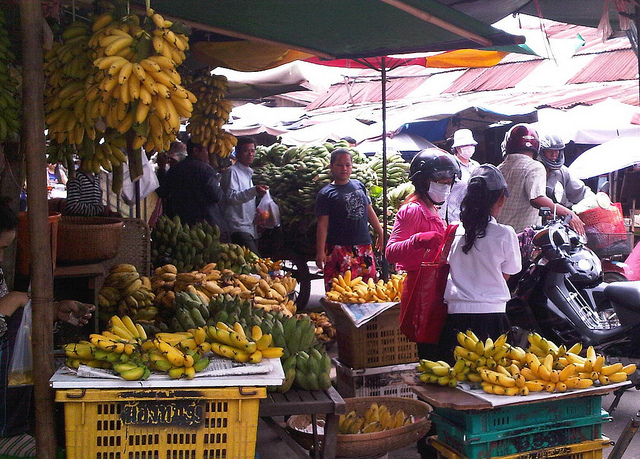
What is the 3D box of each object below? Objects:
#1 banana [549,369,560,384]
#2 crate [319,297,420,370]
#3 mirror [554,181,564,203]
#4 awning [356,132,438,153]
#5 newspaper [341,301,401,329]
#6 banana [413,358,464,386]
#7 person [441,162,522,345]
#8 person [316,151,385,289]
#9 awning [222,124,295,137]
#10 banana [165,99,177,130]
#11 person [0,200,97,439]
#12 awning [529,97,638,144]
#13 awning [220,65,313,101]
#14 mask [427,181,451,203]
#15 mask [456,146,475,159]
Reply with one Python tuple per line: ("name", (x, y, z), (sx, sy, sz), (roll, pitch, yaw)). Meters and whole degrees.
("banana", (1.241, 0.777, 2.933), (0.050, 0.069, 0.048), (0, -1, 20))
("crate", (0.432, 0.943, 5.195), (0.794, 0.556, 0.613), (-2, 11, -28))
("mirror", (2.989, -0.464, 6.930), (0.107, 0.297, 0.547), (0, -1, 24))
("awning", (1.923, -2.070, 13.322), (1.320, 0.365, 1.269), (-1, 6, 3))
("newspaper", (0.417, 0.684, 4.837), (0.464, 0.207, 0.415), (-2, 6, -25))
("banana", (0.690, 0.791, 3.116), (0.177, 0.065, 0.155), (1, 3, -30))
("person", (1.121, 0.178, 3.881), (0.525, 1.256, 0.189), (0, -1, 12))
("person", (0.381, 0.149, 6.449), (0.734, 2.211, 0.531), (-7, 26, -4))
("awning", (-1.587, -2.471, 13.925), (1.595, 0.302, 1.816), (3, 7, 12))
("banana", (-0.782, -0.608, 2.952), (0.038, 0.147, 0.050), (-16, -15, 29))
("person", (-1.602, 0.523, 3.175), (0.408, 1.381, 1.393), (1, -1, -35))
("awning", (4.985, -1.997, 10.400), (1.690, 0.926, 1.456), (0, -2, 22))
("awning", (-1.248, -2.705, 10.004), (1.781, 0.602, 1.379), (4, 9, 10))
("mask", (0.959, -0.289, 4.405), (0.146, 0.101, 0.154), (-1, 33, -42))
("mask", (2.147, -1.119, 8.146), (0.184, 0.161, 0.201), (-5, 9, -29))
